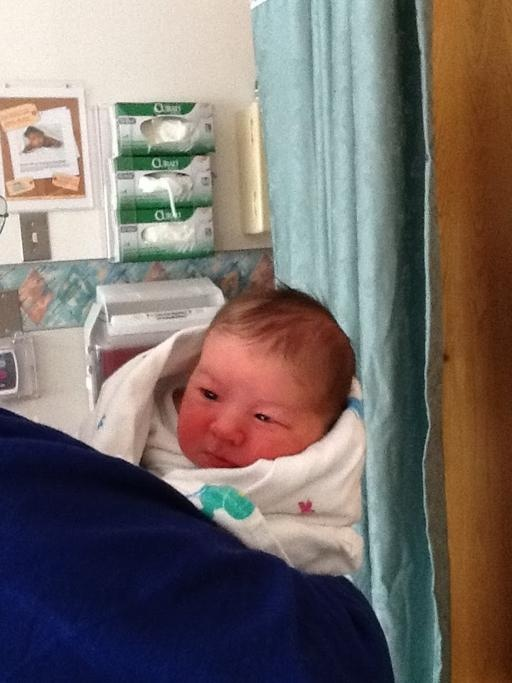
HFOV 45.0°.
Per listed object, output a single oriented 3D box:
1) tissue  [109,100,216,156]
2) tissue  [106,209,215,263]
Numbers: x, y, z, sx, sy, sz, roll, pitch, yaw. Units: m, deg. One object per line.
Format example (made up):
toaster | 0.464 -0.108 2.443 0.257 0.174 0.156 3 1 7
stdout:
tissue  | -0.338 -0.737 2.098 0.353 0.177 0.203 -9 31 -24
tissue  | -0.352 -0.377 2.170 0.379 0.179 0.218 -12 14 -38
